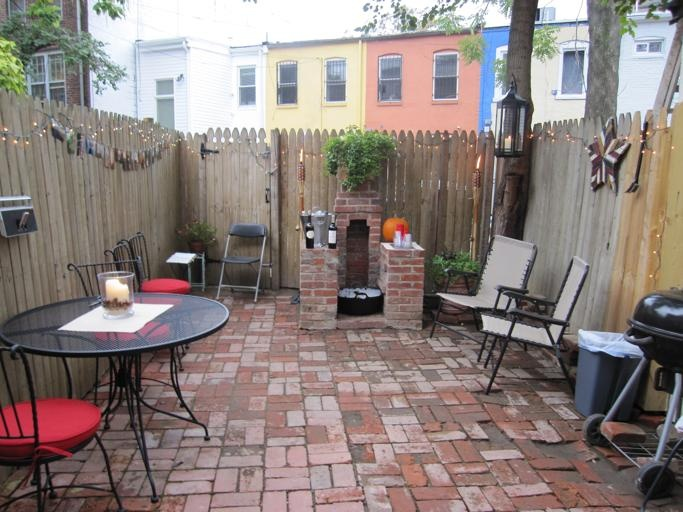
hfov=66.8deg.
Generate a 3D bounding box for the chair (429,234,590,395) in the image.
[{"bbox_3d":[1.793,0.522,5.663,1.461,1.898,1.238,2,8,-1],"label":"chair"}]

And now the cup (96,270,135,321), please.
[{"bbox_3d":[-1.641,0.282,3.916,0.330,0.353,0.319,1,7,0],"label":"cup"}]

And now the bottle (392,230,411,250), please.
[{"bbox_3d":[0.755,-0.212,6.439,0.219,0.208,0.221,1,3,-3],"label":"bottle"}]

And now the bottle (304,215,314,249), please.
[{"bbox_3d":[-0.387,-0.318,6.380,0.100,0.396,0.237,0,14,-4],"label":"bottle"}]

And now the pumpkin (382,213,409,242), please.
[{"bbox_3d":[0.691,-0.390,6.996,0.391,0.437,0.377,-1,3,0],"label":"pumpkin"}]

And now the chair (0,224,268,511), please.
[{"bbox_3d":[-1.576,0.712,4.011,1.586,1.038,1.559,4,12,9],"label":"chair"}]

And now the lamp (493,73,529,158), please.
[{"bbox_3d":[2.036,-1.653,6.217,0.357,0.887,0.243,4,15,10],"label":"lamp"}]

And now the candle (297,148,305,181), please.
[{"bbox_3d":[-0.598,-1.395,7.863,0.106,0.473,0.207,-1,14,-6],"label":"candle"}]
